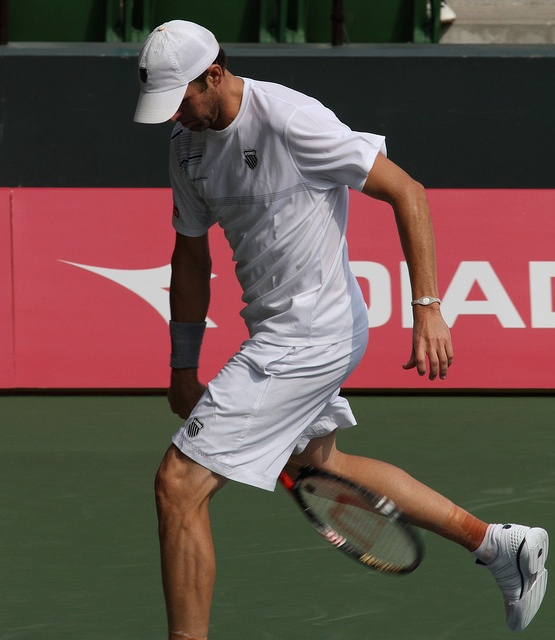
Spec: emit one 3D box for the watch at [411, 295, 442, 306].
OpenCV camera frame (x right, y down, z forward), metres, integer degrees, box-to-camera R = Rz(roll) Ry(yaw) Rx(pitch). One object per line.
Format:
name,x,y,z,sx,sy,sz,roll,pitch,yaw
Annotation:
watch,0.450,-0.061,3.130,0.083,0.037,0.107,1,14,6

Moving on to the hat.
hat,-0.304,-0.746,3.113,0.172,0.290,0.242,12,19,40

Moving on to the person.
person,0.143,-0.013,3.284,1.122,1.804,0.865,-2,15,-7
